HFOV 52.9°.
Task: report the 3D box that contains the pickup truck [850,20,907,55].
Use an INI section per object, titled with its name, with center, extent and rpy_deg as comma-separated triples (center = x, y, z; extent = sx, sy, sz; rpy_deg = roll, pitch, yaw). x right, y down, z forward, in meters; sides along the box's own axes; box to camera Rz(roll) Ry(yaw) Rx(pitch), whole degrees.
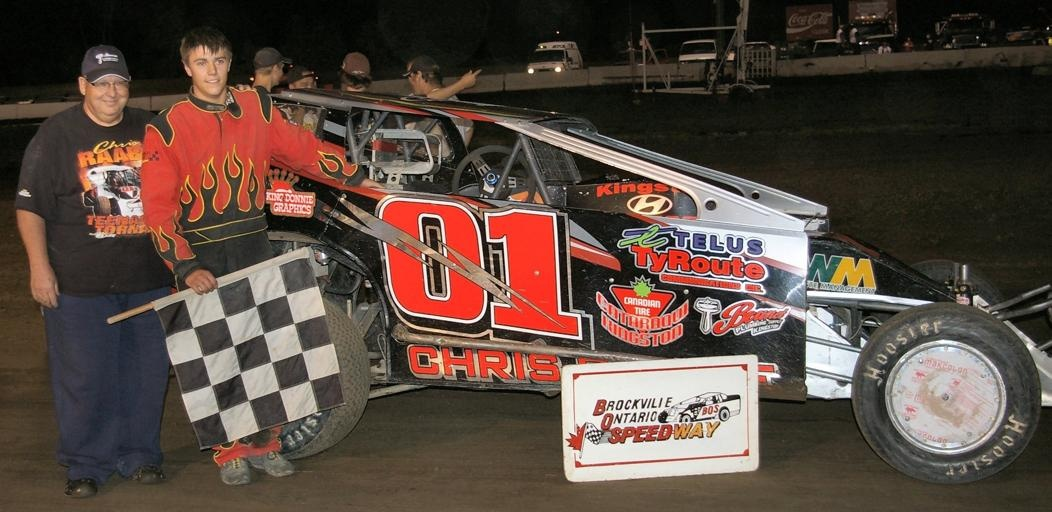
[pickup truck]
center = 13.093, -8.228, 39.754
extent = 2.023, 1.144, 2.739
rpy_deg = 7, 16, 27

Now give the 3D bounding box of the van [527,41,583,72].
[van]
center = 1.101, -7.067, 37.646
extent = 1.883, 1.210, 2.538
rpy_deg = 3, 12, 23
